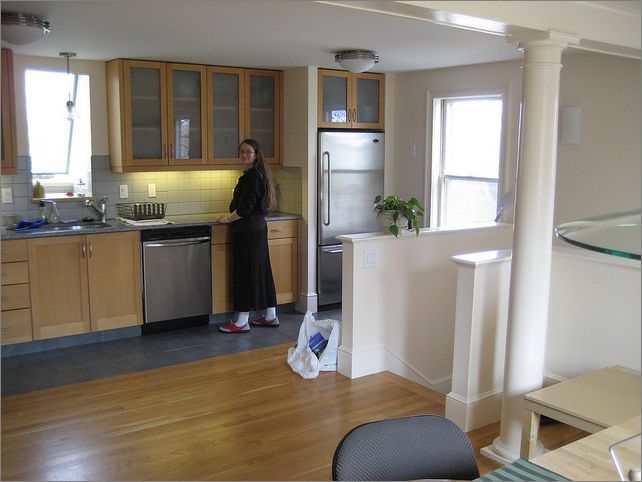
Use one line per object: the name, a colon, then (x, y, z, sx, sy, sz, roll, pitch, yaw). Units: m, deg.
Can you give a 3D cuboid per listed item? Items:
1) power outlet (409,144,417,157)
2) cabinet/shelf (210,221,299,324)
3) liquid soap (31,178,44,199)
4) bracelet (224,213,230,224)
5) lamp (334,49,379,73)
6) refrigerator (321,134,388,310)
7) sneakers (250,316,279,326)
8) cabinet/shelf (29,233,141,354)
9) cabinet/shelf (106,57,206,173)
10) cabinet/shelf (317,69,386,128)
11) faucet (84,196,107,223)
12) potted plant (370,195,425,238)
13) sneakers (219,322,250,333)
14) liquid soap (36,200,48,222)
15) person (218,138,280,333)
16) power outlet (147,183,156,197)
power outlet: (1.094, -1.079, 5.976, 0.018, 0.133, 0.104, -7, 14, -31)
cabinet/shelf: (-0.880, 0.219, 5.756, 1.129, 0.990, 0.628, -4, 7, -33)
liquid soap: (-2.834, -0.525, 5.028, 0.099, 0.173, 0.163, -6, 13, -27)
bracelet: (-0.950, -0.222, 5.146, 0.032, 0.080, 0.081, 18, -37, -36)
lamp: (0.347, -1.723, 4.788, 0.420, 0.163, 0.284, 1, 12, 3)
refrigerator: (0.329, -0.268, 5.967, 0.958, 2.056, 0.299, -11, 17, -43)
sneakers: (-0.604, 0.849, 5.463, 0.305, 0.107, 0.110, 2, 1, 15)
cabinet/shelf: (-2.233, 0.462, 4.666, 1.090, 0.974, 0.444, -4, 7, -33)
cabinet/shelf: (-1.742, -1.338, 5.173, 1.084, 1.186, 0.502, -6, 10, -31)
cabinet/shelf: (0.280, -1.656, 5.963, 0.970, 0.655, 0.310, -7, 14, -32)
faucet: (-2.348, -0.333, 5.238, 0.204, 0.244, 0.161, -2, 12, -11)
potted plant: (0.694, -0.228, 4.261, 0.359, 0.259, 0.360, 0, 1, -22)
sneakers: (-0.880, 0.889, 5.213, 0.275, 0.100, 0.115, 3, -2, -16)
liquid soap: (-2.731, -0.291, 4.928, 0.091, 0.215, 0.188, -5, 13, -24)
person: (-0.741, -0.040, 5.148, 0.581, 1.971, 0.319, -2, 12, -11)
power outlet: (-1.879, -0.564, 5.577, 0.081, 0.160, 0.021, -4, 13, -21)
